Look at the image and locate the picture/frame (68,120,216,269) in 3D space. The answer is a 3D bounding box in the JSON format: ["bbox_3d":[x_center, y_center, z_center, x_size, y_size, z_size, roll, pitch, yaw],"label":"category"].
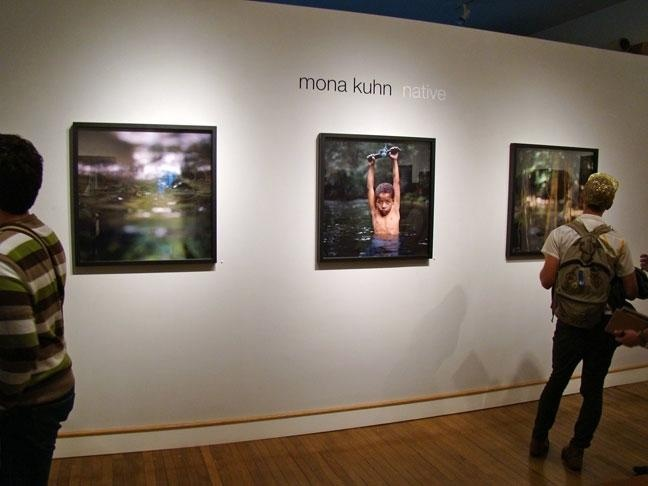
[{"bbox_3d":[-1.566,-0.441,4.001,1.152,1.247,0.049,-1,5,-9],"label":"picture/frame"}]

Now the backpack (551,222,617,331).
[{"bbox_3d":[2.199,0.267,4.023,0.456,0.896,0.493,7,-1,12],"label":"backpack"}]

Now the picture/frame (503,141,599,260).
[{"bbox_3d":[2.359,-0.418,5.014,1.086,1.158,0.081,0,4,-18],"label":"picture/frame"}]
